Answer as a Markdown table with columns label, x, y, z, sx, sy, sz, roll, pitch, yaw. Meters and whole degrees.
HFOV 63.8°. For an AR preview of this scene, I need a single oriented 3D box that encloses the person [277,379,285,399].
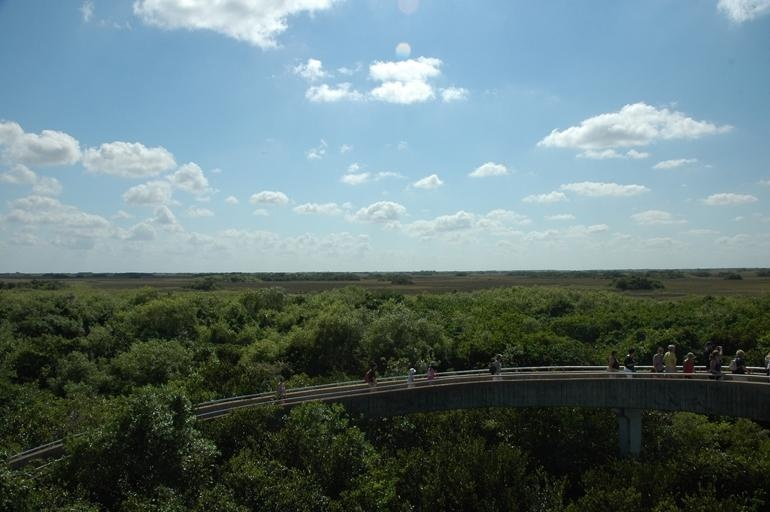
| label | x | y | z | sx | sy | sz | roll | pitch | yaw |
| --- | --- | --- | --- | --- | --- | --- | --- | --- | --- |
| person | -10.468 | 13.619 | 62.541 | 0.731 | 1.542 | 1.512 | 0 | -2 | -5 |

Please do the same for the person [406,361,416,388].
| label | x | y | z | sx | sy | sz | roll | pitch | yaw |
| --- | --- | --- | --- | --- | --- | --- | --- | --- | --- |
| person | 2.809 | 13.044 | 67.547 | 0.664 | 2.436 | 0.964 | 8 | 30 | -5 |
